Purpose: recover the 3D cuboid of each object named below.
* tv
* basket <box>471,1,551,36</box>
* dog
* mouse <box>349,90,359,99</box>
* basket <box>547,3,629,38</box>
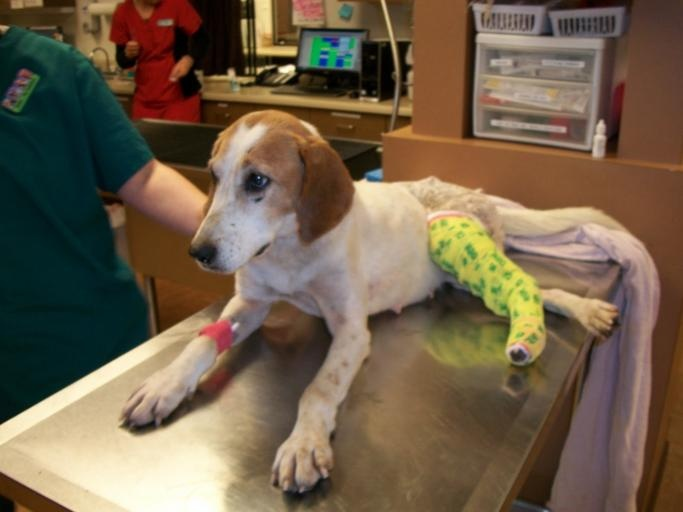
[{"bbox_3d":[-0.058,-1.471,3.972,0.470,0.393,0.282,9,29,22],"label":"tv"},{"bbox_3d":[0.477,-0.677,1.512,0.164,0.066,0.128,9,37,20],"label":"basket"},{"bbox_3d":[0.074,0.011,1.134,0.572,0.488,0.935,8,28,42],"label":"dog"},{"bbox_3d":[0.091,-1.184,3.897,0.063,0.066,0.069,1,56,-5],"label":"mouse"},{"bbox_3d":[0.670,-0.619,1.430,0.151,0.062,0.111,14,32,39],"label":"basket"}]
